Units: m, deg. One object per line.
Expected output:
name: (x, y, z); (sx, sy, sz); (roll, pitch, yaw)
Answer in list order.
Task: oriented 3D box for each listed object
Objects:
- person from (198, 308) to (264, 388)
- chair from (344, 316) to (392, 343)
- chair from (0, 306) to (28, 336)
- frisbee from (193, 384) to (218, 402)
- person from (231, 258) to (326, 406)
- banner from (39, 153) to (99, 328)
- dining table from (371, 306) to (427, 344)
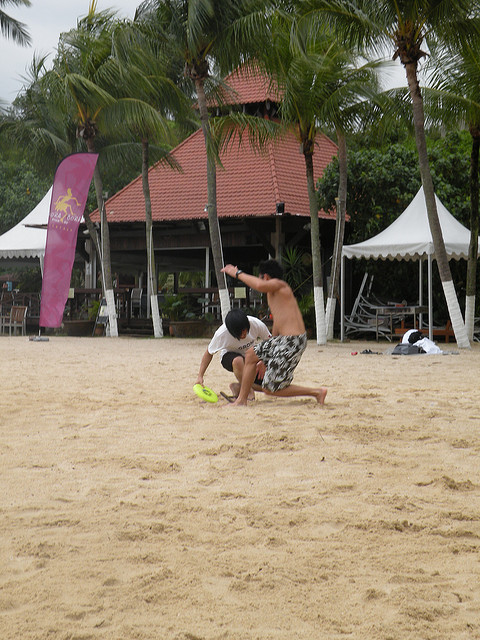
person: (-0.092, 0.356, 8.367); (0.502, 1.004, 0.376); (-13, 21, -40)
chair: (2.449, 0.111, 18.264); (0.531, 0.403, 0.587); (1, 1, -2)
chair: (-5.289, 0.005, 22.260); (0.403, 1.021, 0.565); (0, -3, 2)
frisbee: (-0.293, 0.630, 8.335); (0.209, 0.153, 0.338); (0, -3, -23)
person: (0.320, 0.122, 8.146); (0.520, 1.425, 0.633); (2, -11, -3)
banner: (-3.213, -1.394, 17.320); (0.569, 4.153, 0.178); (4, -30, -5)
dining table: (3.030, 0.024, 18.485); (0.906, 0.579, 3.296); (-2, -3, 9)
